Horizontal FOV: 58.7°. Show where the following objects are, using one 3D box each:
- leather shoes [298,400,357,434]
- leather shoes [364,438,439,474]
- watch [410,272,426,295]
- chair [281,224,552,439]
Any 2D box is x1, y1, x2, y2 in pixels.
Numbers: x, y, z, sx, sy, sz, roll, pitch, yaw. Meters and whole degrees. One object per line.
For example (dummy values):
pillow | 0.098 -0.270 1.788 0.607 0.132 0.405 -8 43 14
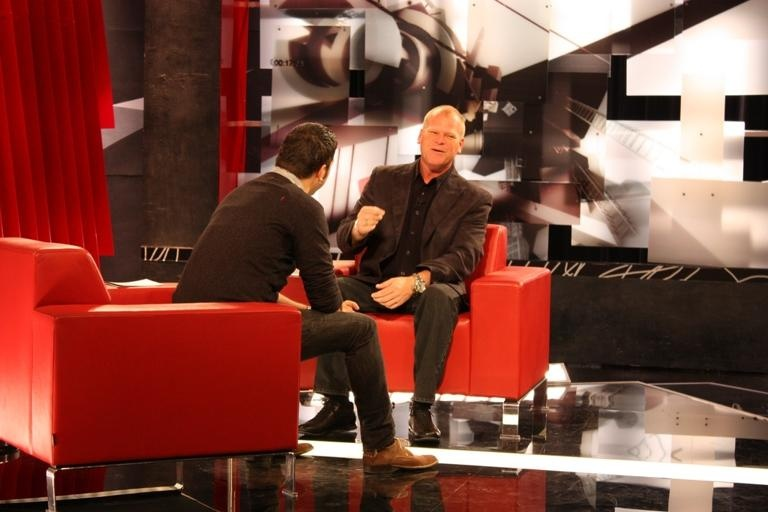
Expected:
leather shoes | -0.270 0.853 3.631 0.366 0.171 0.127 2 -5 -37
leather shoes | 0.072 0.925 3.169 0.362 0.144 0.130 0 0 -7
watch | 0.183 0.143 3.524 0.074 0.091 0.044 2 -7 -40
chair | 0.289 0.426 4.004 1.784 1.434 0.976 -1 -2 23
